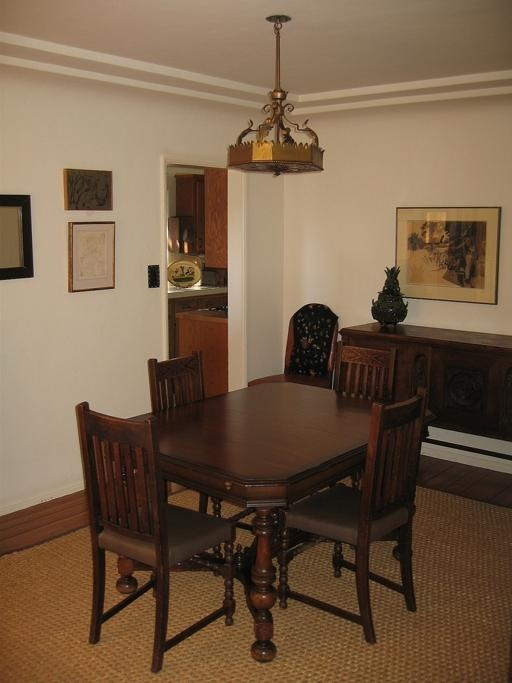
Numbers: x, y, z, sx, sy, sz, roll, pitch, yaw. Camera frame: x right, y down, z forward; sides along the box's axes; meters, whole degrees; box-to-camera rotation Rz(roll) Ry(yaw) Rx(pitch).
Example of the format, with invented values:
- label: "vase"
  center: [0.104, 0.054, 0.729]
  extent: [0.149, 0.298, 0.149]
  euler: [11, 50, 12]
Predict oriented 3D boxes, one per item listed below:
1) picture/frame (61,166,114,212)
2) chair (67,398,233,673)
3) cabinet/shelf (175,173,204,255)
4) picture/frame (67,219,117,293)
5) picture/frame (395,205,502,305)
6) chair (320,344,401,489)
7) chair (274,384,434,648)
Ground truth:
- label: "picture/frame"
  center: [-0.986, -0.907, 3.415]
  extent: [0.346, 0.243, 0.031]
  euler: [7, 7, 24]
- label: "chair"
  center: [-0.350, 0.635, 2.000]
  extent: [0.432, 0.896, 0.499]
  euler: [3, 6, 34]
- label: "cabinet/shelf"
  center: [-0.912, -1.775, 7.997]
  extent: [0.405, 1.048, 0.937]
  euler: [0, 12, 6]
- label: "picture/frame"
  center: [-1.004, -0.525, 3.454]
  extent: [0.049, 0.499, 0.418]
  euler: [14, 18, 38]
- label: "picture/frame"
  center: [1.406, -0.618, 4.053]
  extent: [0.029, 0.597, 0.694]
  euler: [-10, 16, -43]
- label: "chair"
  center: [0.549, 0.369, 3.012]
  extent: [0.335, 0.606, 0.352]
  euler: [10, 34, 24]
- label: "chair"
  center: [0.355, 0.639, 2.219]
  extent: [0.471, 0.851, 0.483]
  euler: [-1, 3, -38]
